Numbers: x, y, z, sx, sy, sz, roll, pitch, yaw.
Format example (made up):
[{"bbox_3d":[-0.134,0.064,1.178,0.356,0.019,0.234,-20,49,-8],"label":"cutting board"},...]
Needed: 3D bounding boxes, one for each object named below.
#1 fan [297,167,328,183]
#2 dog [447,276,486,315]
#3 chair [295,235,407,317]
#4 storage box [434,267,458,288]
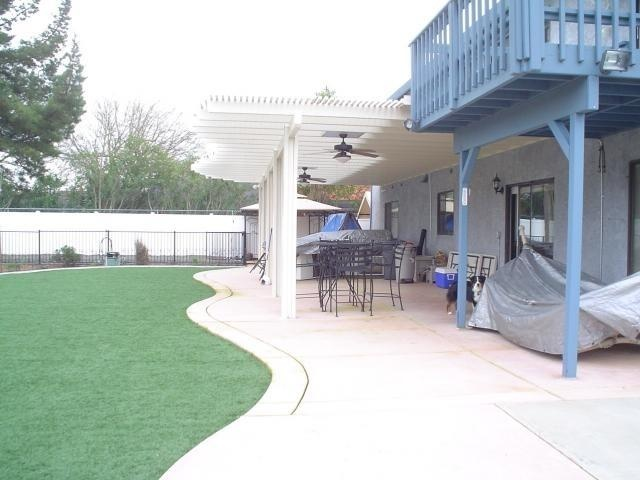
[{"bbox_3d":[-0.224,-1.797,15.224,0.810,0.329,0.809,-2,4,-36],"label":"fan"},{"bbox_3d":[2.440,0.840,9.114,0.315,0.735,1.098,-1,-6,-15],"label":"dog"},{"bbox_3d":[0.741,0.628,10.864,1.230,2.854,1.319,0,-1,-10],"label":"chair"},{"bbox_3d":[2.793,0.811,12.331,0.372,0.517,0.706,0,4,-5],"label":"storage box"}]
